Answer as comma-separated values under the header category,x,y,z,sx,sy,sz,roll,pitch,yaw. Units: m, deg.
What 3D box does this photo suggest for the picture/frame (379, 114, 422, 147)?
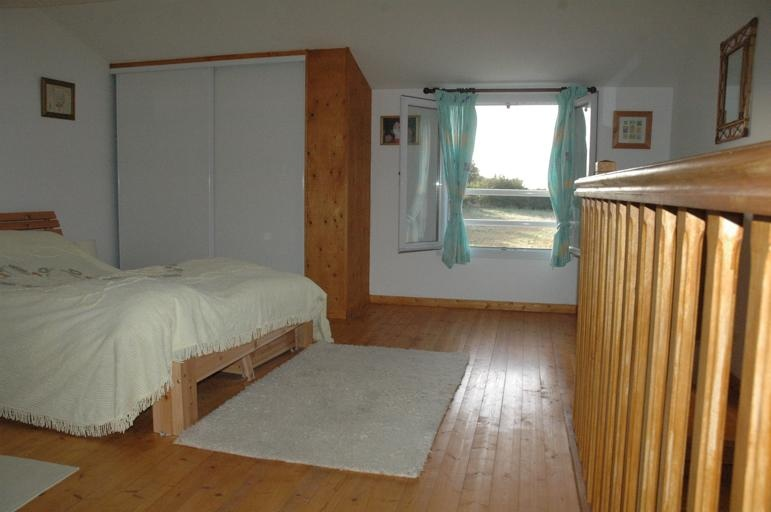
category,x,y,z,sx,sy,sz,roll,pitch,yaw
picture/frame,0.195,-1.410,5.894,0.395,0.293,0.017,1,1,22

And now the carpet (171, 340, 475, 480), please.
category,x,y,z,sx,sy,sz,roll,pitch,yaw
carpet,-0.230,0.923,3.668,1.485,0.053,2.089,3,8,19

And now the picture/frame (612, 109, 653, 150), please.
category,x,y,z,sx,sy,sz,roll,pitch,yaw
picture/frame,2.590,-1.309,5.423,0.421,0.420,0.031,1,4,6
